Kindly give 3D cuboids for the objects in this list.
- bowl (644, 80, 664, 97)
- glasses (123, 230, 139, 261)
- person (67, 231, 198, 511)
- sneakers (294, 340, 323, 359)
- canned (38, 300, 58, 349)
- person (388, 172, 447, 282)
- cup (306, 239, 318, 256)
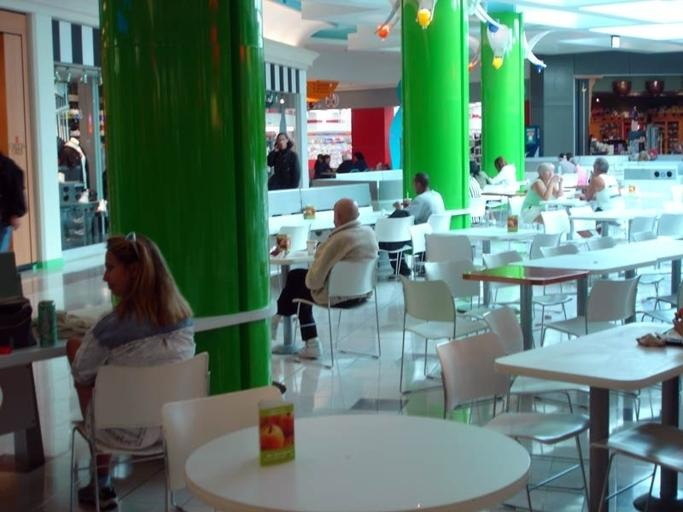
[{"bbox_3d":[13.080,-6.994,25.956,0.709,0.554,1.106,0,7,17],"label":"bowl"},{"bbox_3d":[-1.017,-0.045,3.028,0.061,0.135,0.078,-2,5,-11],"label":"glasses"},{"bbox_3d":[-1.097,0.606,3.064,0.642,1.412,0.530,1,6,26],"label":"person"},{"bbox_3d":[-0.312,0.866,5.826,0.229,0.183,0.121,2,3,41],"label":"sneakers"},{"bbox_3d":[-1.511,0.346,3.184,0.083,0.219,0.077,-3,6,-11],"label":"canned"},{"bbox_3d":[1.006,-0.597,9.066,0.650,1.263,0.542,6,34,10],"label":"person"},{"bbox_3d":[-0.297,-0.083,6.432,0.128,0.143,0.127,1,8,0],"label":"cup"}]
